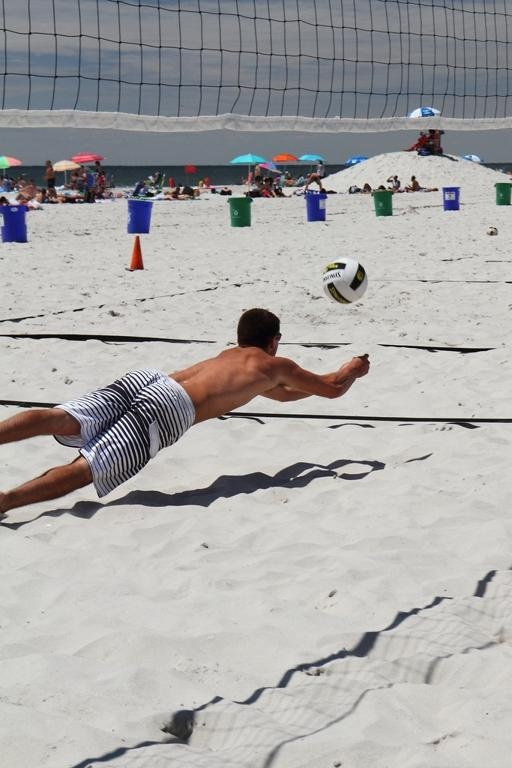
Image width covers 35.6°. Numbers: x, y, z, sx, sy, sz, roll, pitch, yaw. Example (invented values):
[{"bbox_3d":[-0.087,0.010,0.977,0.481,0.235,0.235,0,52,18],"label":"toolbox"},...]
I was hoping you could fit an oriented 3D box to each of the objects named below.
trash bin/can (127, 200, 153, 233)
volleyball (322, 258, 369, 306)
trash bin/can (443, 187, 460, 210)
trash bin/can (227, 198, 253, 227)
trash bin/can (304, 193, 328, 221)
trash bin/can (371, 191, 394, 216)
[{"bbox_3d":[-1.573,-2.234,10.674,0.324,0.471,0.616,-3,11,-9],"label":"trash bin/can"},{"bbox_3d":[0.477,-0.551,4.289,0.216,0.232,0.187,-2,12,-2],"label":"volleyball"},{"bbox_3d":[3.634,-3.427,14.800,0.264,0.461,0.574,0,11,8],"label":"trash bin/can"},{"bbox_3d":[-0.237,-2.565,11.871,0.535,0.446,0.423,0,6,1],"label":"trash bin/can"},{"bbox_3d":[0.983,-2.885,13.041,0.322,0.499,0.976,-1,11,5],"label":"trash bin/can"},{"bbox_3d":[2.194,-3.096,13.716,0.316,0.448,0.479,0,11,7],"label":"trash bin/can"}]
